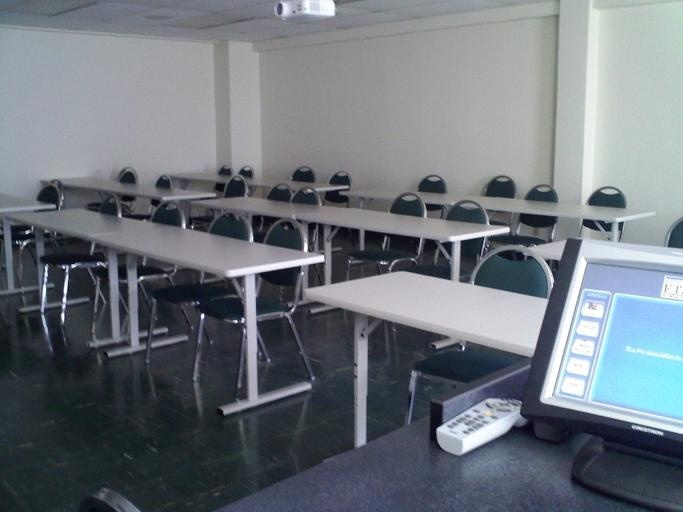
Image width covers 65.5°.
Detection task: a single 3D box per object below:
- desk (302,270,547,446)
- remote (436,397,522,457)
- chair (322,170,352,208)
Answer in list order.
[{"bbox_3d":[0.332,0.454,2.344,0.752,0.551,0.409,11,15,43],"label":"desk"},{"bbox_3d":[0.310,0.362,1.171,0.257,0.061,0.081,-17,24,-42],"label":"remote"},{"bbox_3d":[-0.067,-0.958,7.602,0.405,0.703,0.482,7,11,26],"label":"chair"}]
